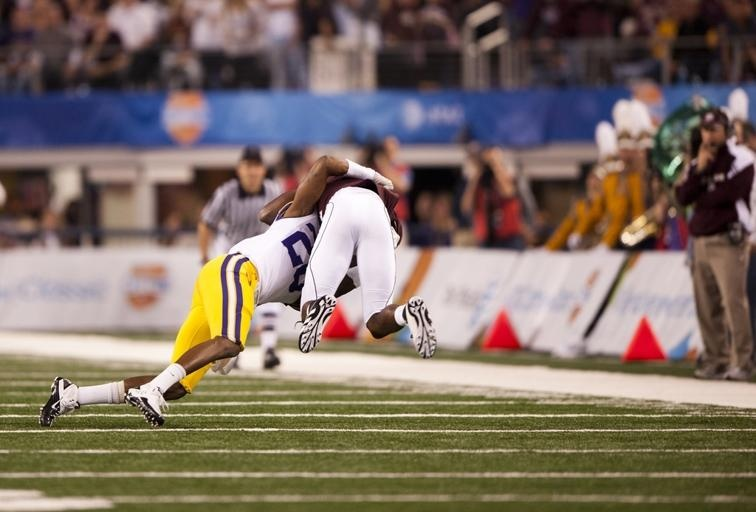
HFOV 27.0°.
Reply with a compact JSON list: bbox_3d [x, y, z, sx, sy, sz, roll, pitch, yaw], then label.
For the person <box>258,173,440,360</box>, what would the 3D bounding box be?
[{"bbox_3d":[-0.185,0.052,17.623,1.262,1.021,2.276,7,30,-17],"label":"person"}]
